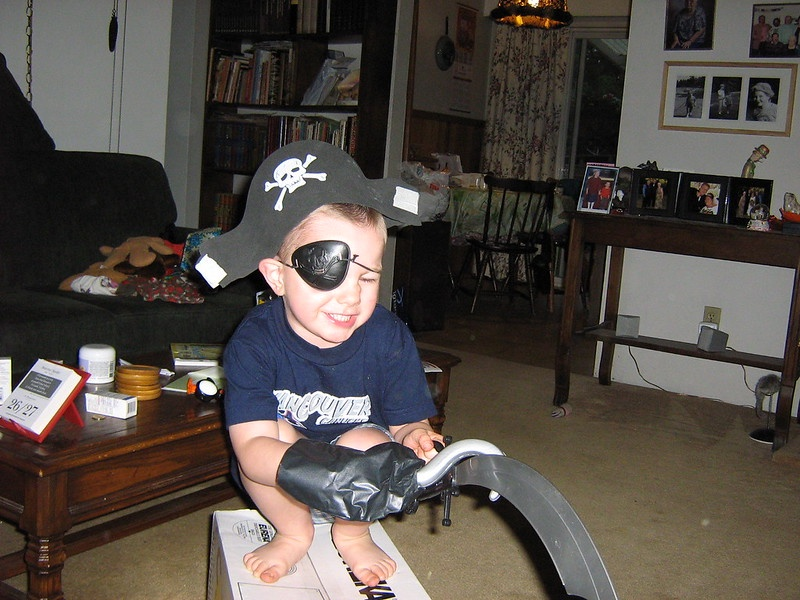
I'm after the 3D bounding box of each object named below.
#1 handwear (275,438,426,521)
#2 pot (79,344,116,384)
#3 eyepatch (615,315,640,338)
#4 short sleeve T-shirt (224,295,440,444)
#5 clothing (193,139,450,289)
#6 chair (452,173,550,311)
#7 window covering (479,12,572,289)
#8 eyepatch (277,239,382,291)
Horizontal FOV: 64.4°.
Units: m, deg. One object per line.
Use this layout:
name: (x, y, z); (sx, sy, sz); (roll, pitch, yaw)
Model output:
handwear: (-0.079, 0.228, 0.905); (0.165, 0.070, 0.122); (4, 21, 11)
pot: (-0.804, 0.153, 1.731); (0.104, 0.119, 0.105); (3, 6, 0)
eyepatch: (1.144, 0.128, 3.207); (0.106, 0.114, 0.107); (1, -3, -17)
short sleeve T-shirt: (-0.141, 0.167, 1.401); (0.430, 0.350, 0.239); (-6, 0, 11)
clothing: (-0.172, -0.161, 1.237); (0.432, 0.289, 0.163); (0, 12, -18)
chair: (0.855, -0.444, 5.342); (0.701, 1.034, 0.739); (2, -3, 38)
window covering: (1.403, -2.367, 7.172); (0.974, 2.595, 0.240); (13, -32, -3)
eyepatch: (-0.126, -0.067, 1.173); (0.172, 0.094, 0.070); (2, 12, -10)
